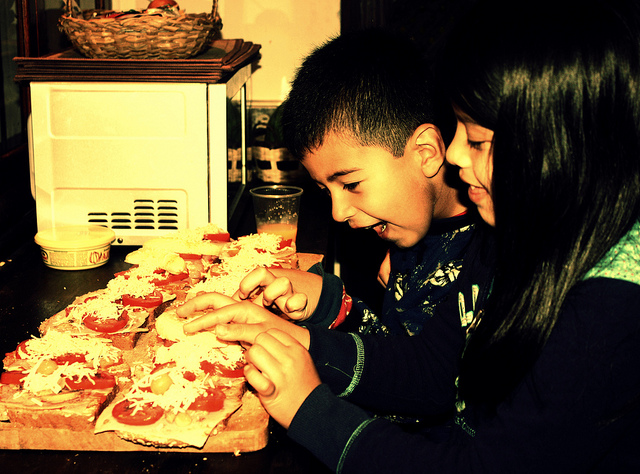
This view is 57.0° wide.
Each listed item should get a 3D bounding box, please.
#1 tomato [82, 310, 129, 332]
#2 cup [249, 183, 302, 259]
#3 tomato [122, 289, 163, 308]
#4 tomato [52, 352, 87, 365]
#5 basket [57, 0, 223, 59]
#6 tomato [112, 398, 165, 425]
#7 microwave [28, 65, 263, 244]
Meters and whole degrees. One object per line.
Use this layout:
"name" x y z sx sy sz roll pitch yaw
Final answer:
"tomato" -0.579 0.229 1.583 0.117 0.032 0.078 -5 19 -17
"cup" -0.160 -0.069 2.239 0.261 0.327 0.250 0 15 0
"tomato" -0.513 0.179 1.714 0.112 0.036 0.061 -15 23 -39
"tomato" -0.582 0.280 1.366 0.074 0.019 0.023 -6 19 -21
"basket" -0.634 -0.736 2.071 0.546 0.209 0.317 -3 18 -10
"tomato" -0.403 0.375 1.275 0.113 0.026 0.066 6 19 18
"microwave" -0.797 -0.421 2.493 0.816 0.652 1.069 -4 21 -20
